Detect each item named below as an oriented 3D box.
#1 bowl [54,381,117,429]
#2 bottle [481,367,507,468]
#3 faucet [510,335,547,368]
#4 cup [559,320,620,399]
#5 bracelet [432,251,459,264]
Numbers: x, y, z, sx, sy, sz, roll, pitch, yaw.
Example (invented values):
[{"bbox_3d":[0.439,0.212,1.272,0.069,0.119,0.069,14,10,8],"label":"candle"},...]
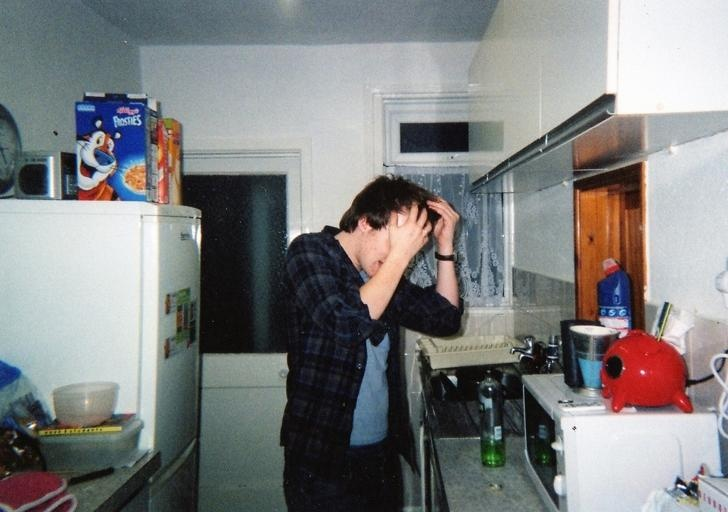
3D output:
[{"bbox_3d":[-1.052,0.554,2.177,0.153,0.112,0.166,0,-10,0],"label":"bowl"},{"bbox_3d":[0.470,0.597,2.124,0.099,0.315,0.132,1,2,11],"label":"bottle"},{"bbox_3d":[0.717,0.400,2.499,0.144,0.057,0.160,-12,19,2],"label":"faucet"},{"bbox_3d":[0.712,0.321,1.873,0.193,0.249,0.173,1,0,7],"label":"cup"},{"bbox_3d":[0.360,0.006,2.615,0.070,0.083,0.077,-3,-6,27],"label":"bracelet"}]
